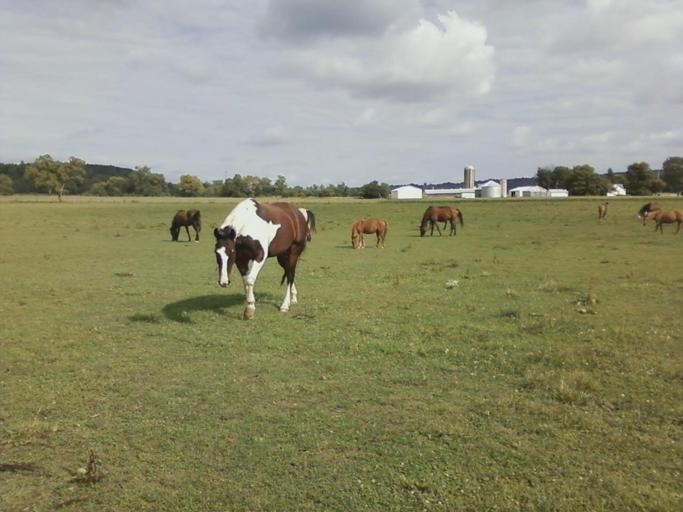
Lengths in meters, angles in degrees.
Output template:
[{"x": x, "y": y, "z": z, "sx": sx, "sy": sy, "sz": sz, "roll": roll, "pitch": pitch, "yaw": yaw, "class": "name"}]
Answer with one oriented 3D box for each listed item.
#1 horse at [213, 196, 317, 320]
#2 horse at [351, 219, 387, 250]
[{"x": -2.644, "y": -0.022, "z": 21.795, "sx": 1.563, "sy": 3.928, "sz": 4.171, "roll": 4, "pitch": 7, "yaw": 29, "class": "horse"}, {"x": 1.781, "y": -1.535, "z": 39.658, "sx": 2.046, "sy": 1.653, "sz": 5.877, "roll": 1, "pitch": 6, "yaw": 1, "class": "horse"}]
